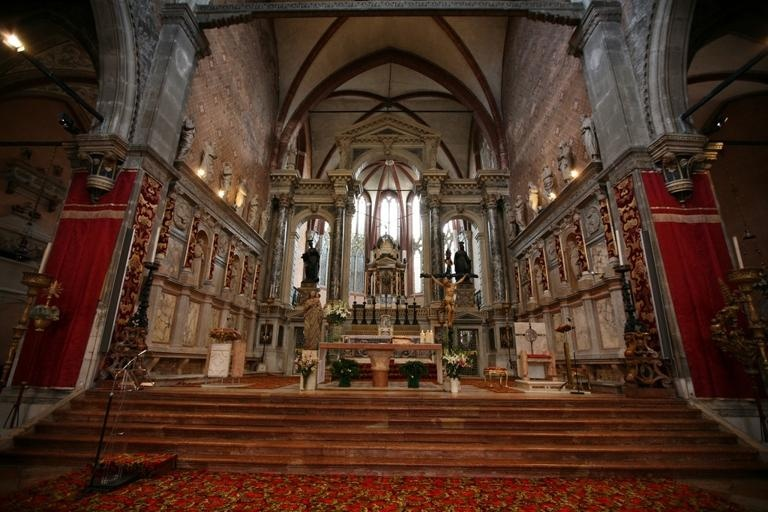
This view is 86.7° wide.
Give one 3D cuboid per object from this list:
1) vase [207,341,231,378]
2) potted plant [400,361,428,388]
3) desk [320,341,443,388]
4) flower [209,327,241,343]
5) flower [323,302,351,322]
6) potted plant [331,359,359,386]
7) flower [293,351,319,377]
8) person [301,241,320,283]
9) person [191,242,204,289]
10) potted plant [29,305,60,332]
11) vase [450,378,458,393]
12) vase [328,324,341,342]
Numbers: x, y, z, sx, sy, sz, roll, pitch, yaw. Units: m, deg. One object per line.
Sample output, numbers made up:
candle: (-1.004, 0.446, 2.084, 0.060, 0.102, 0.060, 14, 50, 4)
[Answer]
vase: (-4.372, 2.972, 10.804, 0.542, 0.919, 0.378, 4, -18, -14)
potted plant: (0.770, 3.389, 10.773, 0.704, 0.701, 0.704, 2, -16, 0)
desk: (-0.109, 3.149, 10.821, 3.276, 1.051, 0.858, 2, -20, -6)
flower: (-4.259, 2.353, 11.126, 0.606, 0.242, 0.617, -8, -14, 31)
flower: (-1.556, 1.975, 12.913, 0.819, 0.603, 0.811, -2, -6, 4)
potted plant: (-1.021, 3.262, 10.558, 0.668, 0.763, 0.490, 2, -18, -8)
flower: (-1.837, 2.747, 9.788, 0.629, 0.806, 0.726, 4, -8, -6)
person: (-3.332, 0.356, 18.528, 0.651, 2.271, 0.640, -13, -22, 35)
person: (-6.006, 0.322, 13.150, 0.308, 1.736, 0.664, 7, -19, -22)
potted plant: (-7.265, 1.478, 8.904, 0.614, 0.612, 0.590, -3, -7, 9)
vase: (1.714, 3.371, 9.801, 0.196, 0.345, 0.168, 2, -18, -7)
vase: (-1.786, 3.102, 15.084, 0.451, 0.672, 0.631, 3, -18, -9)
